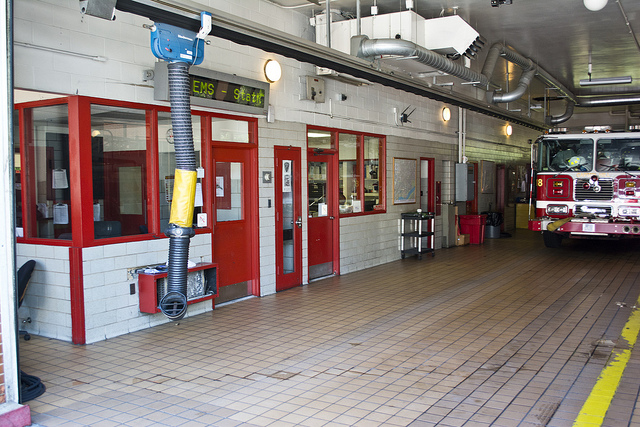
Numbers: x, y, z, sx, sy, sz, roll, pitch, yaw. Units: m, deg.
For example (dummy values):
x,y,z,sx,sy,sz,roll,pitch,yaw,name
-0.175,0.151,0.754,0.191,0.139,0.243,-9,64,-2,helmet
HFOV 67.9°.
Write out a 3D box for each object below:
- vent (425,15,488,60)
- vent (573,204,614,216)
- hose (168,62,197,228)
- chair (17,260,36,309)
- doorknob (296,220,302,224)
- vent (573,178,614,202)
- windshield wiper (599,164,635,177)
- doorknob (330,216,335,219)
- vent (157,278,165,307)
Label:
x,y,z,sx,sy,sz,roll,pitch,yaw,name
2.733,-3.578,9.667,1.145,0.568,0.784,2,5,9,vent
6.574,-0.101,11.501,0.848,0.270,0.070,3,8,29,vent
-1.704,-0.847,5.830,0.334,2.022,0.362,-3,7,-17,hose
-4.070,0.964,6.652,0.217,0.563,0.383,-5,8,-30,chair
-0.420,0.161,9.840,0.029,0.088,0.160,4,8,36,doorknob
6.628,-0.582,11.511,0.627,0.425,0.076,3,-1,30,vent
7.123,-1.039,11.393,0.891,0.040,0.091,17,-5,10,windshield wiper
0.280,0.077,10.713,0.121,0.063,0.019,-4,8,-29,doorknob
-2.397,1.171,7.213,0.076,0.416,0.185,-1,7,-3,vent
